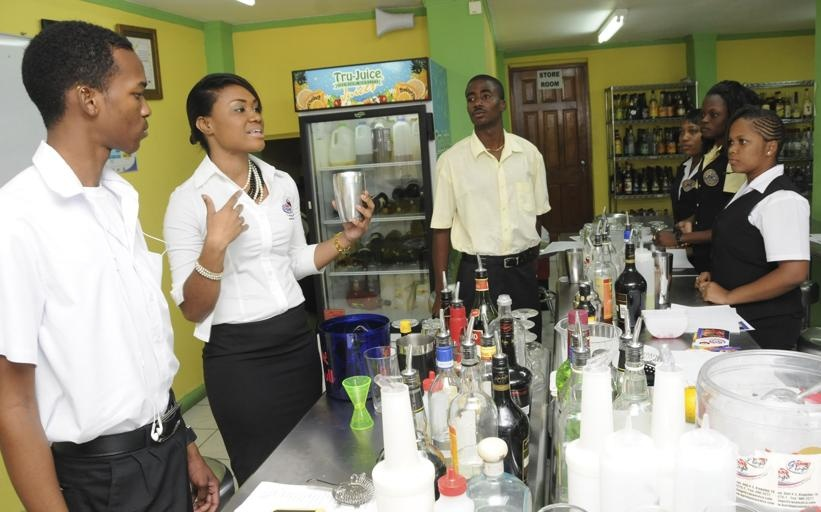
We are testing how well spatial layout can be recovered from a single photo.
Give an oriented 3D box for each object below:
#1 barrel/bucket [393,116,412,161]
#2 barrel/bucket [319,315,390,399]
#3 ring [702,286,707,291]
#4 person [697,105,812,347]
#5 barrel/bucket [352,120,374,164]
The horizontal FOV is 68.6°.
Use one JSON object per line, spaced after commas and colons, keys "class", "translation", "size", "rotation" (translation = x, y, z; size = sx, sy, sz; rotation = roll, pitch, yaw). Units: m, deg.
{"class": "barrel/bucket", "translation": [-0.065, -0.873, 4.662], "size": [0.158, 0.357, 0.162], "rotation": [-4, -4, 0]}
{"class": "barrel/bucket", "translation": [-0.209, 0.398, 2.527], "size": [0.323, 0.351, 0.321], "rotation": [-2, 3, 0]}
{"class": "ring", "translation": [1.493, 0.167, 3.076], "size": [0.023, 0.007, 0.023], "rotation": [-28, 4, 2]}
{"class": "person", "translation": [1.708, -0.130, 3.045], "size": [0.495, 1.228, 0.464], "rotation": [1, 7, 34]}
{"class": "barrel/bucket", "translation": [-0.367, -0.864, 4.706], "size": [0.154, 0.340, 0.132], "rotation": [-5, 14, -16]}
